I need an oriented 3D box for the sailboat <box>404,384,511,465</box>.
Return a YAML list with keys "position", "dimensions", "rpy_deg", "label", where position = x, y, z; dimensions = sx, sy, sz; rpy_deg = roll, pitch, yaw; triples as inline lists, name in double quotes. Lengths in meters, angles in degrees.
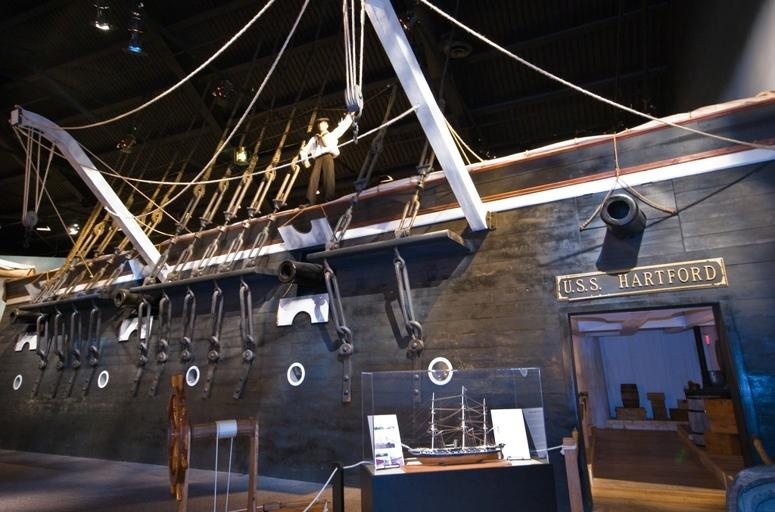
- position: [0.877, 2.313, 7.991]
  dimensions: [1.326, 0.917, 0.499]
  rpy_deg: [0, -5, -6]
  label: "sailboat"
